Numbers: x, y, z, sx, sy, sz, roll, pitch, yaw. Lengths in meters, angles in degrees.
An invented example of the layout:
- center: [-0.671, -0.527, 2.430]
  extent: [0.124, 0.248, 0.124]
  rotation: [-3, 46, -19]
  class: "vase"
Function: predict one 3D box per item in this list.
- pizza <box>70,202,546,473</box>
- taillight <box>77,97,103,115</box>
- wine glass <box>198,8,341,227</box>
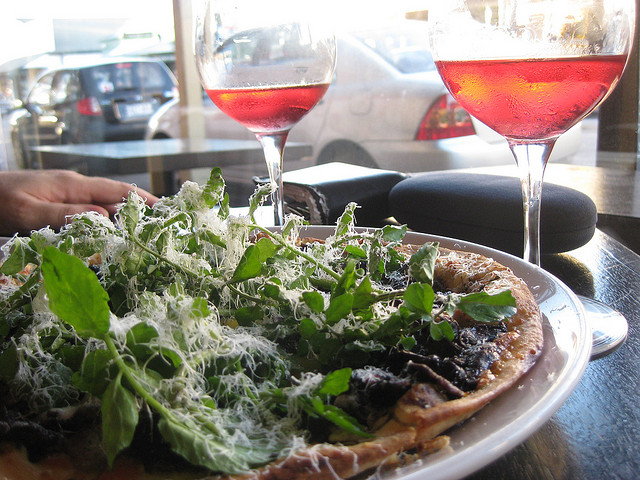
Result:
- center: [-0.019, 0.004, 0.327]
  extent: [0.226, 0.048, 0.208]
  rotation: [15, 17, 17]
  class: "pizza"
- center: [-1.410, -0.810, 3.100]
  extent: [0.128, 0.109, 0.052]
  rotation: [-12, 24, -24]
  class: "taillight"
- center: [-0.062, -0.153, 0.705]
  extent: [0.148, 0.307, 0.175]
  rotation: [11, 25, 29]
  class: "wine glass"
